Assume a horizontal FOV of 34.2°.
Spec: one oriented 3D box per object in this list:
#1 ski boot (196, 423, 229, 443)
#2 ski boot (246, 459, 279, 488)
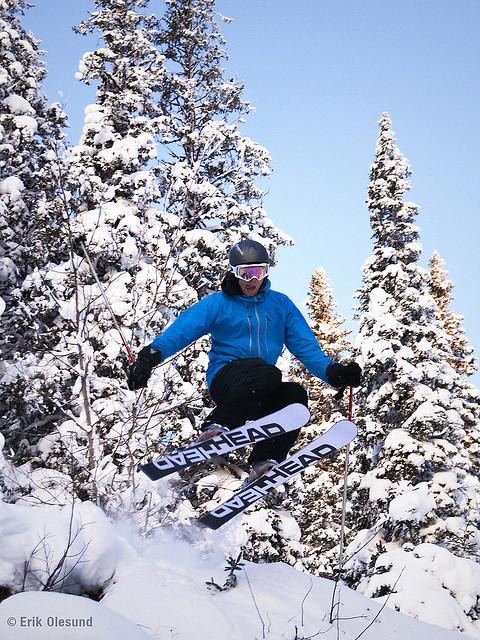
[{"bbox_3d":[-0.245,0.918,6.343,0.226,0.134,0.066,-29,-5,-6],"label":"ski boot"},{"bbox_3d":[0.168,1.257,6.618,0.114,0.368,0.132,37,-21,16],"label":"ski boot"}]
